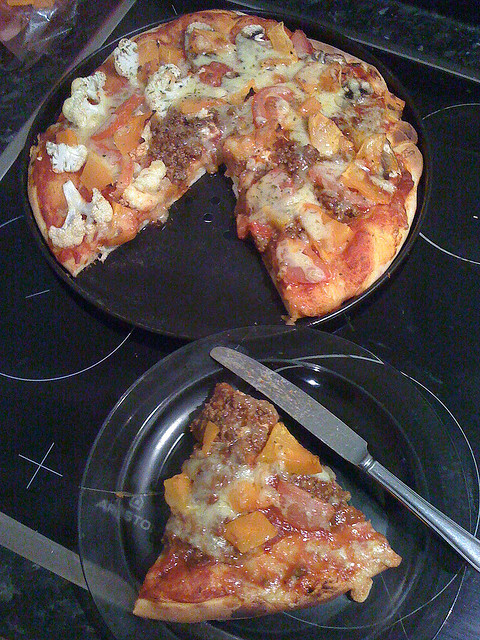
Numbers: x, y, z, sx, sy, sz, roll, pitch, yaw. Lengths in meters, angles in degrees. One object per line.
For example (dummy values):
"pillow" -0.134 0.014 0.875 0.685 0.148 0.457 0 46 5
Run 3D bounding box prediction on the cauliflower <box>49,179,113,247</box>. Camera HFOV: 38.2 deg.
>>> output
"cauliflower" -0.516 -0.331 2.227 0.230 0.071 0.209 -1 74 11

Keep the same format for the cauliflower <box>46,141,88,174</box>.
"cauliflower" -0.572 -0.544 2.290 0.135 0.054 0.103 -7 78 2

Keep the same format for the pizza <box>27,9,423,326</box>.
"pizza" -0.029 -0.532 2.311 1.268 0.244 1.097 21 80 7

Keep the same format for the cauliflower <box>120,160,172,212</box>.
"cauliflower" -0.313 -0.445 2.312 0.137 0.102 0.182 15 80 6

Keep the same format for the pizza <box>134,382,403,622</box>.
"pizza" 0.110 0.520 1.853 0.634 0.382 0.601 10 79 5

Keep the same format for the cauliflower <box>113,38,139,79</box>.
"cauliflower" -0.391 -0.894 2.373 0.096 0.036 0.116 -11 99 -29
